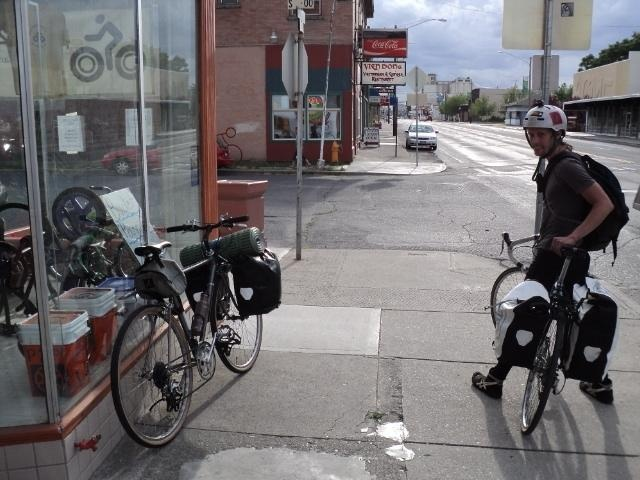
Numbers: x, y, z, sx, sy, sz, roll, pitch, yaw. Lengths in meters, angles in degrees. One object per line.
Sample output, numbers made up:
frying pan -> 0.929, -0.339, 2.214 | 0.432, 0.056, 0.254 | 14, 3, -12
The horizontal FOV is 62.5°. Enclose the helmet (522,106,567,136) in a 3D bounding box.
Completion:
helmet -> 1.792, -0.945, 4.233 | 0.362, 0.294, 0.273 | -8, 13, -32

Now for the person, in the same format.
person -> 1.914, 0.101, 4.350 | 1.053, 2.302, 0.936 | 3, 5, 29

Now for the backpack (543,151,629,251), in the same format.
backpack -> 2.158, -0.291, 4.102 | 0.454, 0.732, 0.702 | 13, 17, 35

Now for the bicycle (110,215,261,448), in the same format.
bicycle -> -0.968, 0.577, 4.297 | 0.653, 1.353, 2.259 | -7, 7, 16

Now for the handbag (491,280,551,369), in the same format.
handbag -> 1.513, 0.630, 4.016 | 0.334, 0.576, 0.383 | 5, 17, -7

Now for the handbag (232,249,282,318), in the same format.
handbag -> -0.584, 0.334, 4.650 | 0.481, 0.568, 0.536 | 2, 11, -4
